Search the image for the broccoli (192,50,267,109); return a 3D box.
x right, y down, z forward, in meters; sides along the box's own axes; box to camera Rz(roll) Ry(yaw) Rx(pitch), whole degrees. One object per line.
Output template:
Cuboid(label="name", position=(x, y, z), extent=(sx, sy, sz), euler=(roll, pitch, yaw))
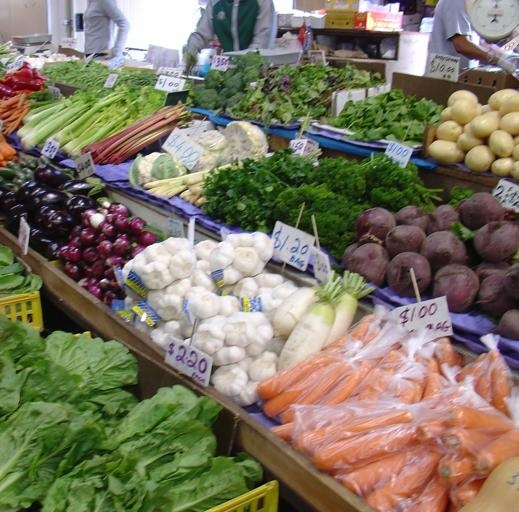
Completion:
Cuboid(label="broccoli", position=(-0.302, -1.604, 4.091), extent=(0.522, 0.655, 0.275), euler=(39, 6, 40))

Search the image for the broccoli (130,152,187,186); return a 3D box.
Cuboid(label="broccoli", position=(-0.808, -0.654, 3.431), extent=(0.377, 0.152, 0.329), euler=(-21, 28, -5))

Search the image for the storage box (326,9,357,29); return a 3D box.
Cuboid(label="storage box", position=(1.587, -4.650, 8.708), extent=(0.126, 0.360, 0.703), euler=(-17, 29, -42))
